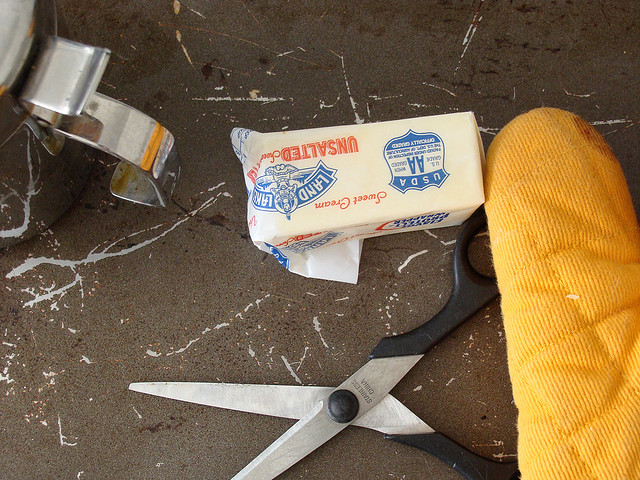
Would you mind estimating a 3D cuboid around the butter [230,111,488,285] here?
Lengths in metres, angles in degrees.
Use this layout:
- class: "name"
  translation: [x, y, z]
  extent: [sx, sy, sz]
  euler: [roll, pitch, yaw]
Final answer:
- class: "butter"
  translation: [0.049, -0.071, 0.829]
  extent: [0.248, 0.067, 0.228]
  euler: [-7, 92, 2]
